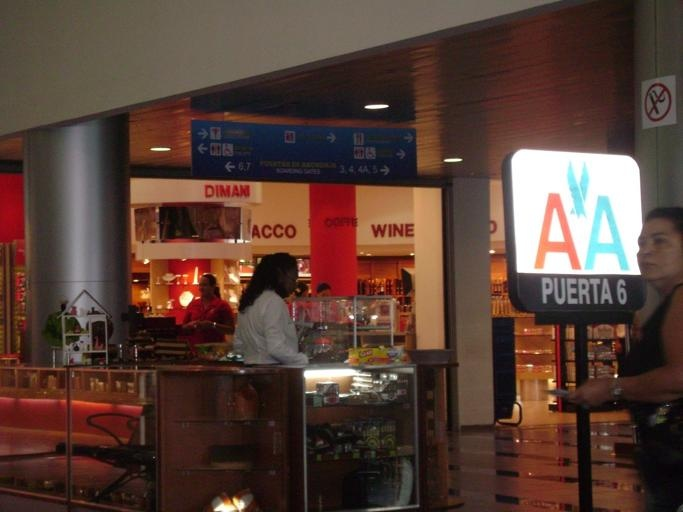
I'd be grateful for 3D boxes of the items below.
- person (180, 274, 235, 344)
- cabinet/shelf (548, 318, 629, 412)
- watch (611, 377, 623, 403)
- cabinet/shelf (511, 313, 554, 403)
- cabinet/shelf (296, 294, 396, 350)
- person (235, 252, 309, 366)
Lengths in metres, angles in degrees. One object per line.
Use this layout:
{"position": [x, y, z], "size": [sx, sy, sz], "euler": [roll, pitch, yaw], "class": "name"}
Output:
{"position": [-1.507, 0.607, 8.293], "size": [0.551, 0.802, 0.667], "euler": [0, -1, -10], "class": "person"}
{"position": [3.851, 1.823, 11.506], "size": [0.714, 1.222, 1.359], "euler": [-11, -13, 38], "class": "cabinet/shelf"}
{"position": [1.144, 0.558, 3.005], "size": [0.049, 0.108, 0.109], "euler": [-1, -1, 21], "class": "watch"}
{"position": [3.888, 2.210, 14.714], "size": [1.014, 1.771, 1.042], "euler": [2, -14, -5], "class": "cabinet/shelf"}
{"position": [0.121, 0.647, 6.232], "size": [0.953, 0.515, 0.520], "euler": [-4, -17, 15], "class": "cabinet/shelf"}
{"position": [-0.529, 0.399, 5.544], "size": [0.512, 0.844, 0.434], "euler": [0, -1, -7], "class": "person"}
